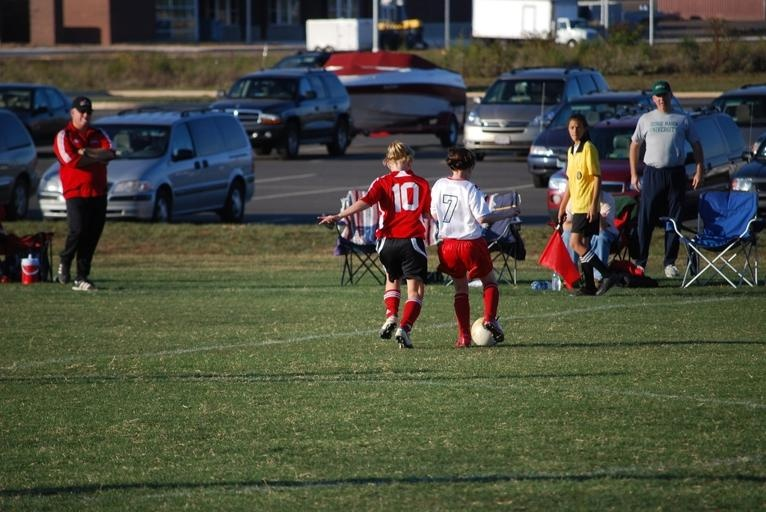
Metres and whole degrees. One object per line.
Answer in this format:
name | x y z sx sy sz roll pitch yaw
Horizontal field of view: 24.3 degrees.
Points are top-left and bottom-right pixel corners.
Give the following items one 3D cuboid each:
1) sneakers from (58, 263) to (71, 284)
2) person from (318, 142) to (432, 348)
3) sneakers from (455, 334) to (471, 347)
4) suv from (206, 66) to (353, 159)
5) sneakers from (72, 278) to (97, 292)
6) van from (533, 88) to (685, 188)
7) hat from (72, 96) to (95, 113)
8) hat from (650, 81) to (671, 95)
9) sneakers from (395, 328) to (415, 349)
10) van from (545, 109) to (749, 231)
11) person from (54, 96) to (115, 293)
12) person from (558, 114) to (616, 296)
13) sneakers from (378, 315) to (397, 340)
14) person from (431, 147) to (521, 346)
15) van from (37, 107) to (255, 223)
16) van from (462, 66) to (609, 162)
sneakers | -5.656 0.336 31.437 0.164 0.492 0.195 3 -21 -36
person | 0.259 -0.157 28.004 1.015 3.258 0.523 0 6 1
sneakers | 1.283 1.392 28.279 0.154 0.180 0.196 1 -7 -11
suv | -2.498 -3.839 46.164 2.022 1.720 3.437 0 2 29
sneakers | -5.247 0.543 31.114 0.384 0.193 0.174 -1 6 6
van | 4.466 -2.749 40.588 1.730 1.615 3.689 2 8 29
hat | -5.203 -2.623 30.656 0.254 0.217 0.355 1 8 -34
hat | 4.971 -2.997 31.494 0.256 0.198 0.365 -2 4 14
sneakers | 0.360 1.336 28.047 0.158 0.226 0.445 -13 -42 26
van | 5.702 -1.779 36.348 3.852 1.857 2.074 -7 5 -44
person | -5.192 -1.086 30.976 1.007 3.413 0.977 -2 6 -11
person | 3.543 -0.865 30.705 0.918 3.214 0.886 0 6 6
sneakers | 0.102 1.133 27.955 0.193 0.466 0.259 26 24 -4
person | 1.315 -0.122 28.121 1.065 3.181 0.419 0 6 3
van | -4.534 -1.879 36.724 2.174 1.993 4.001 1 4 25
van | 4.011 -3.651 45.823 2.177 1.860 3.952 1 7 24
